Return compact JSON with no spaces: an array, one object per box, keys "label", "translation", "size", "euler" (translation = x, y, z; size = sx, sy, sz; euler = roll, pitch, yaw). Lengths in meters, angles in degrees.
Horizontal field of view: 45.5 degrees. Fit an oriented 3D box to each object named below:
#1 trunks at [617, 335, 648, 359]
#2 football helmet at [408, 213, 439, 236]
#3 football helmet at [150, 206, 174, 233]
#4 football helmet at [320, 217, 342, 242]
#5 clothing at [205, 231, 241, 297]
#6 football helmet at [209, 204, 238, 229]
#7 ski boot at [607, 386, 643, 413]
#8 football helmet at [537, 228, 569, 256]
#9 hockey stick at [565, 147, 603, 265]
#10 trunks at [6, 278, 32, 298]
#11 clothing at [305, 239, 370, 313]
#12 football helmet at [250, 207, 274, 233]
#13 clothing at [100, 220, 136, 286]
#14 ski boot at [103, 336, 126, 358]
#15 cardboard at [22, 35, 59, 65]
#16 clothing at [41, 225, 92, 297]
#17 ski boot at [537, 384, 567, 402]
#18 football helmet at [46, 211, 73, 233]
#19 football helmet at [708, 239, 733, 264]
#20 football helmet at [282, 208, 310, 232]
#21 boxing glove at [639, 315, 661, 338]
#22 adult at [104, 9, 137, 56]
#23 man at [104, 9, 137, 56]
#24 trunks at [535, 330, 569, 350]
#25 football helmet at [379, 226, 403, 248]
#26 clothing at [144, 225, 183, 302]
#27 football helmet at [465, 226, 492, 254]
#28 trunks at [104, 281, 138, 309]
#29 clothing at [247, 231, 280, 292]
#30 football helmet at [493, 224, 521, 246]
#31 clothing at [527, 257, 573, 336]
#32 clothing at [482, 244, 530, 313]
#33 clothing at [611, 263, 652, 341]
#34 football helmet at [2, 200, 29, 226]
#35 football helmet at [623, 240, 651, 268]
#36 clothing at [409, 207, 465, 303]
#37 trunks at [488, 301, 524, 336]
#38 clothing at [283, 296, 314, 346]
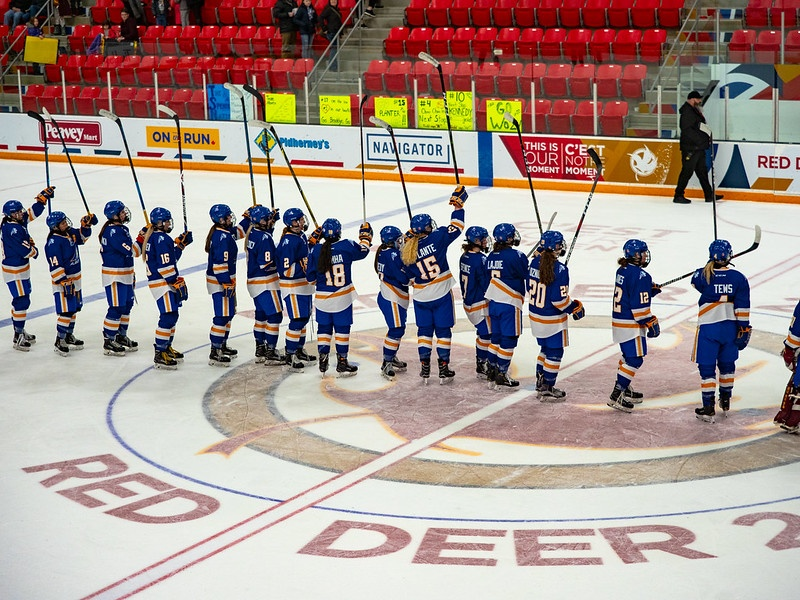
[{"label":"trunks","translation":[2.318,0.442,9.520],"size":[0.199,0.235,0.347],"euler":[-19,16,-24]},{"label":"football helmet","translation":[0.263,-0.824,10.327],"size":[0.263,0.190,0.183],"euler":[-20,32,-15]},{"label":"football helmet","translation":[-2.685,-0.912,11.070],"size":[0.362,0.329,0.277],"euler":[-3,7,-22]},{"label":"football helmet","translation":[-0.754,-0.768,10.571],"size":[0.205,0.233,0.254],"euler":[4,16,6]},{"label":"clothing","translation":[-2.094,-0.442,11.196],"size":[0.354,0.824,0.924],"euler":[2,14,-14]},{"label":"football helmet","translation":[-2.079,-0.980,11.141],"size":[0.319,0.279,0.254],"euler":[-11,17,-20]},{"label":"ski boot","translation":[2.268,0.951,9.610],"size":[0.266,0.197,0.326],"euler":[5,9,27]},{"label":"football helmet","translation":[1.527,-0.559,9.656],"size":[0.276,0.248,0.285],"euler":[-2,9,7]},{"label":"hockey stick","translation":[3.196,-1.597,16.499],"size":[0.367,0.149,3.018],"euler":[4,-20,1]},{"label":"trunks","translation":[-4.648,-0.139,11.732],"size":[0.249,0.182,0.239],"euler":[-8,2,7]},{"label":"clothing","translation":[-0.663,-0.289,10.611],"size":[0.832,0.744,0.536],"euler":[-5,15,-9]},{"label":"football helmet","translation":[-1.598,-0.926,11.007],"size":[0.310,0.275,0.241],"euler":[-7,23,-30]},{"label":"clothing","translation":[-3.341,-0.529,11.405],"size":[0.449,0.778,0.358],"euler":[-6,10,-17]},{"label":"ski boot","translation":[-3.384,0.579,11.521],"size":[0.362,0.233,0.135],"euler":[2,10,13]},{"label":"cardboard","translation":[-9.708,-6.686,25.804],"size":[1.086,0.861,0.141],"euler":[1,29,-19]},{"label":"clothing","translation":[-4.023,-0.450,11.548],"size":[0.302,0.799,0.536],"euler":[0,10,15]},{"label":"ski boot","translation":[1.553,0.959,9.905],"size":[0.345,0.146,0.119],"euler":[-5,18,-16]},{"label":"football helmet","translation":[-4.118,-0.921,11.422],"size":[0.291,0.216,0.244],"euler":[-8,17,0]},{"label":"football helmet","translation":[3.127,-0.468,9.269],"size":[0.190,0.213,0.239],"euler":[4,17,24]},{"label":"football helmet","translation":[-1.181,-0.890,10.750],"size":[0.292,0.251,0.214],"euler":[-14,10,2]},{"label":"boxing glove","translation":[2.503,0.262,9.496],"size":[0.204,0.184,0.228],"euler":[-5,9,3]},{"label":"adult","translation":[-7.382,-6.975,25.299],"size":[0.929,1.250,0.953],"euler":[13,22,29]},{"label":"man","translation":[-7.383,-6.993,25.381],"size":[0.902,1.170,0.839],"euler":[-2,14,-3]},{"label":"trunks","translation":[1.569,0.349,9.780],"size":[0.335,0.221,0.188],"euler":[11,25,39]},{"label":"football helmet","translation":[-0.105,-0.707,10.497],"size":[0.238,0.203,0.169],"euler":[-23,42,20]},{"label":"clothing","translation":[-2.724,-0.390,11.008],"size":[0.391,0.809,0.344],"euler":[-5,10,-13]},{"label":"football helmet","translation":[0.834,-0.654,10.428],"size":[0.308,0.262,0.231],"euler":[-2,9,-9]},{"label":"trunks","translation":[-3.383,-0.085,11.536],"size":[0.476,0.411,0.270],"euler":[-5,21,-17]},{"label":"clothing","translation":[-1.569,-0.417,10.948],"size":[0.430,0.674,0.591],"euler":[-8,12,-21]},{"label":"football helmet","translation":[1.142,-0.692,10.170],"size":[0.293,0.217,0.206],"euler":[-11,17,-17]},{"label":"clothing","translation":[1.559,-0.018,9.705],"size":[0.529,0.870,0.310],"euler":[-1,10,13]},{"label":"clothing","translation":[1.139,-0.214,10.122],"size":[0.544,0.643,0.343],"euler":[2,10,26]},{"label":"clothing","translation":[2.291,0.046,9.458],"size":[0.390,0.789,0.251],"euler":[0,10,16]},{"label":"football helmet","translation":[-4.735,-1.062,11.769],"size":[0.245,0.280,0.311],"euler":[12,15,40]},{"label":"football helmet","translation":[2.350,-0.462,9.534],"size":[0.312,0.268,0.233],"euler":[-1,12,-4]},{"label":"clothing","translation":[0.384,-0.452,10.357],"size":[0.641,0.946,0.380],"euler":[-3,10,-1]},{"label":"trunks","translation":[1.115,0.193,10.153],"size":[0.202,0.319,0.323],"euler":[-17,19,-42]},{"label":"clothing","translation":[-1.169,0.163,10.870],"size":[0.259,0.830,0.205],"euler":[4,3,-40]}]
